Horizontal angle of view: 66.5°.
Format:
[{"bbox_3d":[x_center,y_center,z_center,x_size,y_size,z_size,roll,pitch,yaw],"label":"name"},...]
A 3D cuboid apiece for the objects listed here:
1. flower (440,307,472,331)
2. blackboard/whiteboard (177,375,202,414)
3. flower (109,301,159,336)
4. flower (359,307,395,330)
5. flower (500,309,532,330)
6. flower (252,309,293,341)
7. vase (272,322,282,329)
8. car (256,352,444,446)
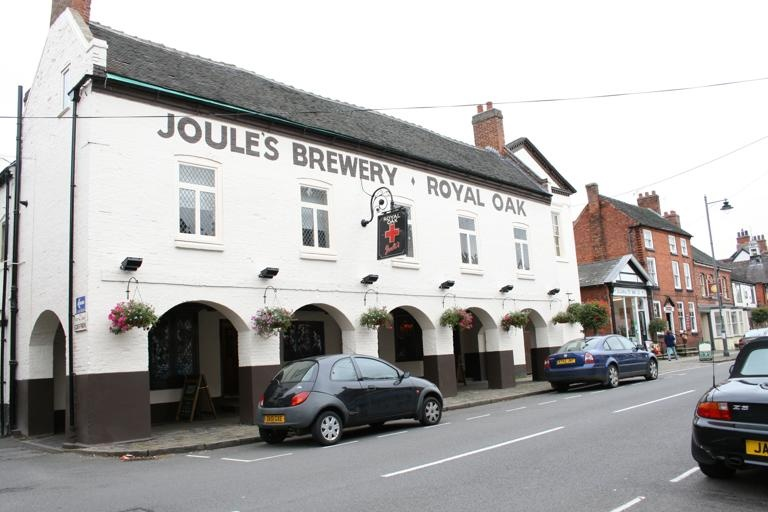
[{"bbox_3d":[2.727,2.412,22.858,1.006,0.639,0.978,2,-9,-7],"label":"flower"},{"bbox_3d":[-6.536,4.731,19.758,0.614,1.456,1.137,0,-6,-35],"label":"blackboard/whiteboard"},{"bbox_3d":[-6.838,1.597,15.653,0.906,0.793,0.783,-8,20,-37],"label":"flower"},{"bbox_3d":[-0.236,2.148,20.581,0.876,0.504,0.897,-1,-10,9],"label":"flower"},{"bbox_3d":[5.562,2.673,25.031,0.947,0.620,0.964,-6,-8,43],"label":"flower"},{"bbox_3d":[-3.494,2.036,18.120,0.976,0.634,0.956,-3,3,-15],"label":"flower"},{"bbox_3d":[-3.264,2.082,17.855,0.253,0.216,0.288,-3,-5,-8],"label":"vase"},{"bbox_3d":[-1.010,3.597,15.654,4.049,1.530,2.279,2,-11,-39],"label":"car"}]
